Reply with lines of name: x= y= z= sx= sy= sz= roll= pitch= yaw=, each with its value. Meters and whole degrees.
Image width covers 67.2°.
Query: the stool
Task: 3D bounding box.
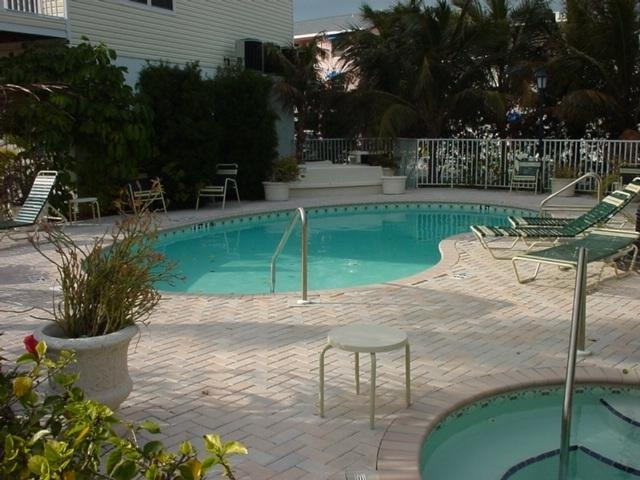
stool: x=0.328 y=0.948 z=3.677 sx=0.704 sy=0.561 sz=0.694 roll=3 pitch=10 yaw=23

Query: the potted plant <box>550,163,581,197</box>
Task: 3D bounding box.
potted plant: x=8.131 y=-1.948 z=15.940 sx=0.910 sy=0.918 sz=0.893 roll=0 pitch=6 yaw=-16

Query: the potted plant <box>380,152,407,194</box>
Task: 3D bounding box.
potted plant: x=2.693 y=-2.526 z=18.032 sx=0.852 sy=1.389 sz=2.134 roll=1 pitch=12 yaw=8

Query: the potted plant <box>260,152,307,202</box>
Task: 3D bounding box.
potted plant: x=-1.496 y=-1.968 z=16.237 sx=1.704 sy=1.659 sz=1.335 roll=4 pitch=3 yaw=-25
